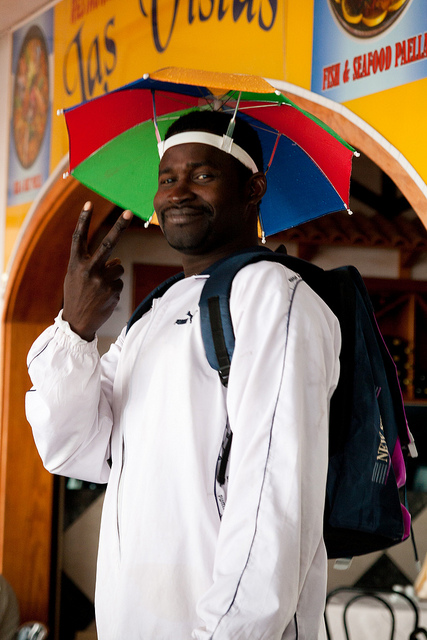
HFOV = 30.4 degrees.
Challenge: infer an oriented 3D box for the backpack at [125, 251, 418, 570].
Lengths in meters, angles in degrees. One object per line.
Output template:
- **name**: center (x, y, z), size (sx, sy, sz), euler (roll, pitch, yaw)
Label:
- **backpack**: center (0.127, 0.199, 1.615), size (0.591, 0.665, 0.428), euler (-9, -14, 20)

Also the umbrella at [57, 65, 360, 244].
- **umbrella**: center (-0.048, -0.396, 1.783), size (0.488, 0.212, 0.524), euler (25, -21, -2)
